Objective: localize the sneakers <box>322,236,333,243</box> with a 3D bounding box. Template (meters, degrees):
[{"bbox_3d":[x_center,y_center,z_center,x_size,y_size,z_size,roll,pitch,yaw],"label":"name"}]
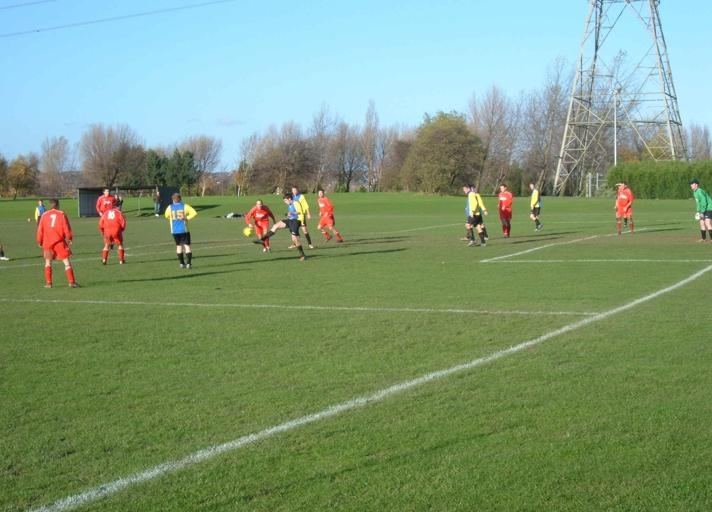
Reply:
[{"bbox_3d":[-0.987,-0.593,24.920,0.194,0.154,0.482,4,3,8],"label":"sneakers"}]

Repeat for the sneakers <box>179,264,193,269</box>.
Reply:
[{"bbox_3d":[-4.120,0.249,17.093,0.333,0.155,0.129,-1,6,26],"label":"sneakers"}]

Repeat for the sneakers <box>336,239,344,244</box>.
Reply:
[{"bbox_3d":[-0.572,-0.515,24.333,0.305,0.221,0.104,-6,26,-7],"label":"sneakers"}]

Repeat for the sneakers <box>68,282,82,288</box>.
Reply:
[{"bbox_3d":[-5.695,0.576,14.319,0.196,0.102,0.257,-6,11,-22],"label":"sneakers"}]

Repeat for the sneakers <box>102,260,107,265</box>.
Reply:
[{"bbox_3d":[-6.483,0.163,18.201,0.119,0.129,0.122,3,7,0],"label":"sneakers"}]

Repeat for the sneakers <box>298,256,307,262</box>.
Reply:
[{"bbox_3d":[-1.405,0.055,18.618,0.143,0.151,0.120,3,5,28],"label":"sneakers"}]

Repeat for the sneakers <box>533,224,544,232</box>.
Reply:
[{"bbox_3d":[7.237,-1.122,28.042,0.256,0.207,0.615,37,18,8],"label":"sneakers"}]

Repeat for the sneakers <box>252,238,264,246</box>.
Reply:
[{"bbox_3d":[-2.906,-0.421,20.974,0.120,0.168,0.380,25,6,-40],"label":"sneakers"}]

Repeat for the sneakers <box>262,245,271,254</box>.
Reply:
[{"bbox_3d":[-2.682,-0.197,21.135,0.182,0.250,0.561,0,-5,-8],"label":"sneakers"}]
